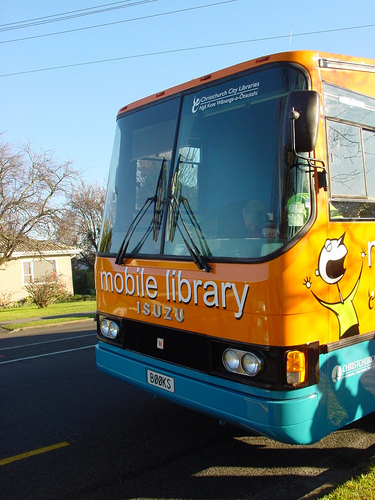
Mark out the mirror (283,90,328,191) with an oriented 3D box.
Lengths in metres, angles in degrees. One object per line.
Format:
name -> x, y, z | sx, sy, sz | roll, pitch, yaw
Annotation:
mirror -> 0.710, -0.681, 2.449 | 0.235, 0.568, 0.359 | -4, -4, 20
